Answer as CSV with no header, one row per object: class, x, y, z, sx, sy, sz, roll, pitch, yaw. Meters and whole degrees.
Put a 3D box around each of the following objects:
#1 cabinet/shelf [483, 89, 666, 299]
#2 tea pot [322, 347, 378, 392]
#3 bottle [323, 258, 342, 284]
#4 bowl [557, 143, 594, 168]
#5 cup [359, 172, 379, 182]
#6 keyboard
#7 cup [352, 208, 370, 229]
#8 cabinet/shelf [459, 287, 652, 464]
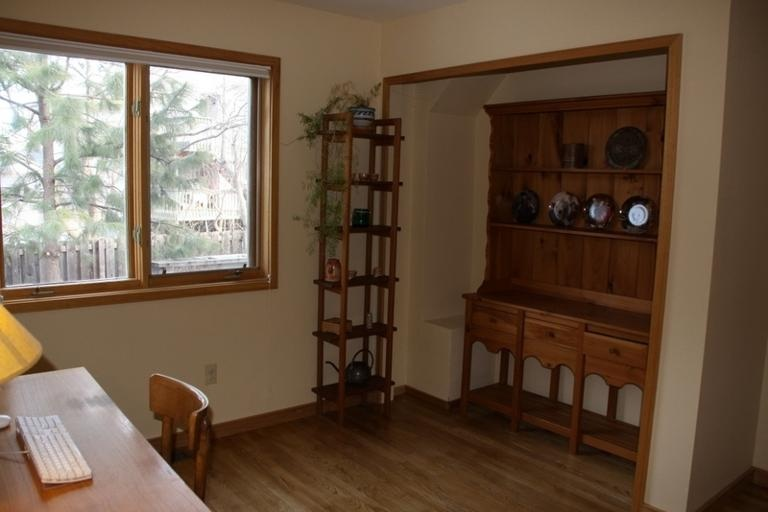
cabinet/shelf,1.584,-0.529,4.544,1.701,1.777,0.442,3,1,42
tea pot,-0.254,0.915,4.717,0.364,0.274,0.202,-3,17,-18
bottle,-0.397,0.122,4.505,0.169,0.192,0.166,3,2,0
bowl,1.539,-0.805,4.490,0.193,0.223,0.219,0,-2,12
cup,-0.143,-0.651,4.611,0.092,0.051,0.138,1,-1,-21
keyboard,-1.385,0.815,2.348,0.174,0.085,0.421,-9,29,-28
cup,-0.191,-0.315,4.551,0.142,0.160,0.144,2,-1,0
cabinet/shelf,1.453,0.924,4.497,0.512,1.045,1.629,-3,7,-40
